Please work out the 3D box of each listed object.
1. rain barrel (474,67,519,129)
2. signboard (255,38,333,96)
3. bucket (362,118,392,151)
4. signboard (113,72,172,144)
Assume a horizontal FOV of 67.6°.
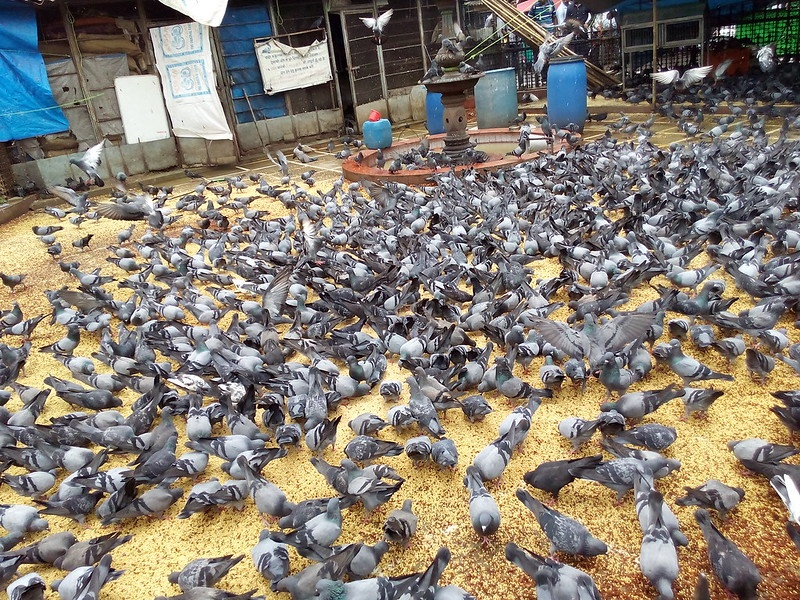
[{"bbox_3d":[2.376,-4.944,15.088,1.082,1.557,1.023,-5,22,2],"label":"rain barrel"},{"bbox_3d":[-3.054,-6.564,16.684,1.879,1.113,0.284,-20,34,-29],"label":"signboard"},{"bbox_3d":[-0.530,-3.828,13.811,0.742,0.572,0.690,-2,28,1],"label":"bucket"},{"bbox_3d":[-6.525,-4.860,14.927,1.473,1.844,0.217,-18,25,-32],"label":"signboard"}]
